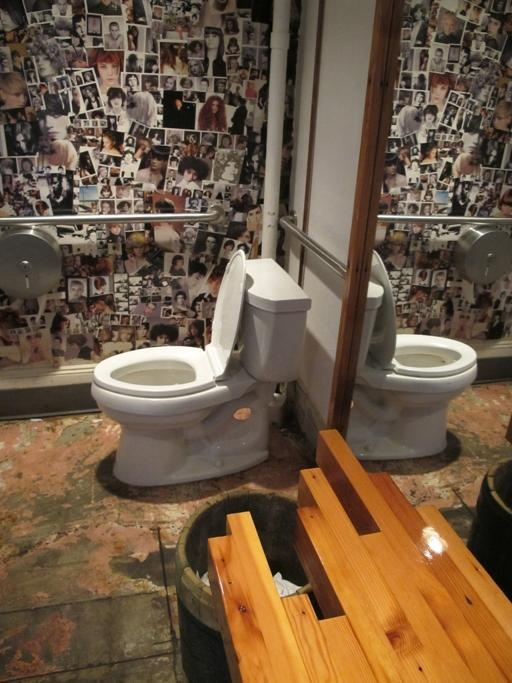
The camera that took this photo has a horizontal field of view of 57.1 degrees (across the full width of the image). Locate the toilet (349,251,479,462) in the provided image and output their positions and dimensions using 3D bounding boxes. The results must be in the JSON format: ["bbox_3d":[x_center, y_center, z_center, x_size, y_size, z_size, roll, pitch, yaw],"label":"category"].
[{"bbox_3d":[0.261,0.035,0.863,0.293,0.314,0.179,0,18,9],"label":"toilet"}]

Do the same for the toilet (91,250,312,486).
[{"bbox_3d":[-0.130,-0.066,2.172,1.088,1.155,0.636,-4,32,-15],"label":"toilet"}]
